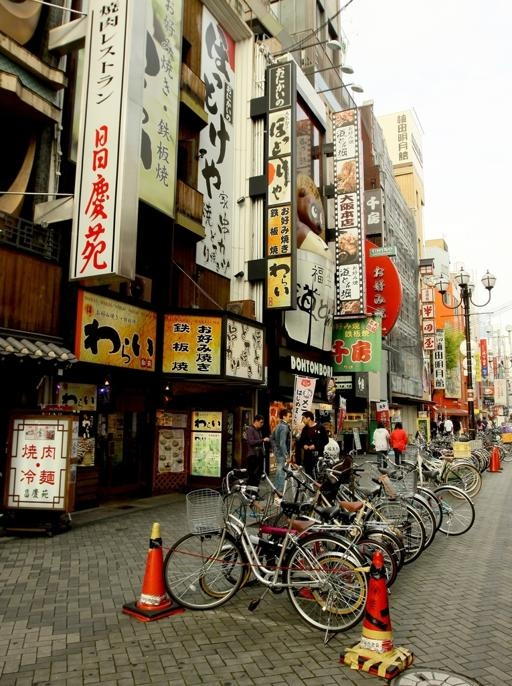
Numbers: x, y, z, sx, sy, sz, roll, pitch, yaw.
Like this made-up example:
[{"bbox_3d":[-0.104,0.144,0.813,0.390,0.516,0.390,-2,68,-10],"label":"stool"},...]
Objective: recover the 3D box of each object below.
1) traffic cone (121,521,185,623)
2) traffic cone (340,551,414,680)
[{"bbox_3d":[-0.958,2.079,4.717,0.506,0.819,0.523,7,-11,-37],"label":"traffic cone"},{"bbox_3d":[0.858,1.932,3.677,0.499,0.763,0.474,-4,-10,30],"label":"traffic cone"}]
